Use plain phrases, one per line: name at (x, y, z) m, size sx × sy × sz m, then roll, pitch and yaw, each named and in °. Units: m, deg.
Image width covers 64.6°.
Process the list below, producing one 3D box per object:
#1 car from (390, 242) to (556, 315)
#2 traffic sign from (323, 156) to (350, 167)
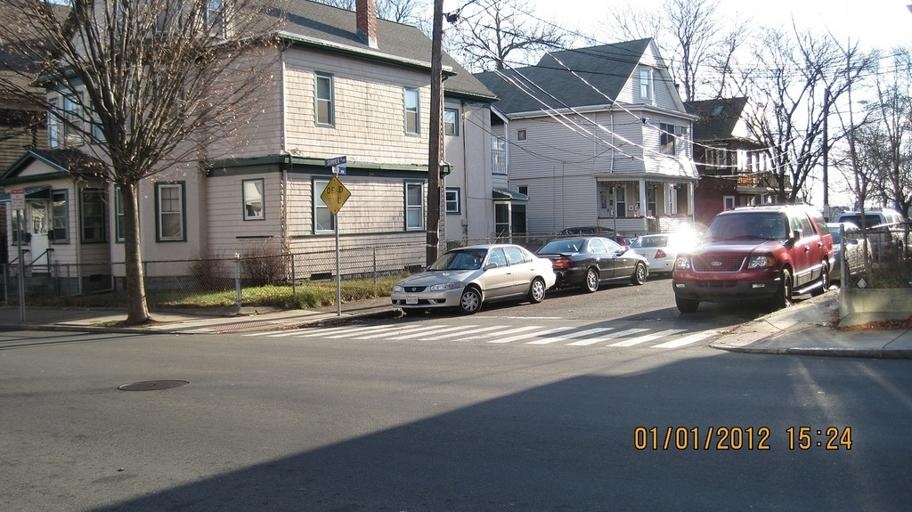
car at (0.917, 0.845, 25.095) m, size 2.449 × 1.537 × 4.862 m, roll -6°, pitch -5°, yaw 45°
traffic sign at (-4.531, -3.496, 26.732) m, size 1.219 × 0.468 × 0.299 m, roll -3°, pitch -10°, yaw 41°
